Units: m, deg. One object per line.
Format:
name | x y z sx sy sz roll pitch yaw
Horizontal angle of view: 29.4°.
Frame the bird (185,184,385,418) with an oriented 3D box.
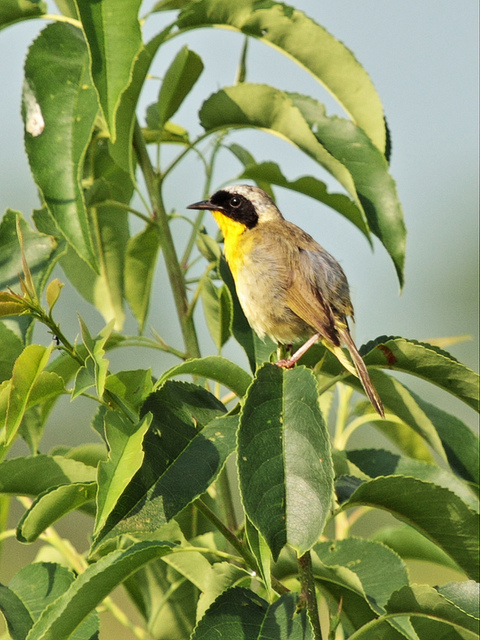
bird | 0.157 -0.075 2.618 0.602 0.224 0.585 4 -90 25
